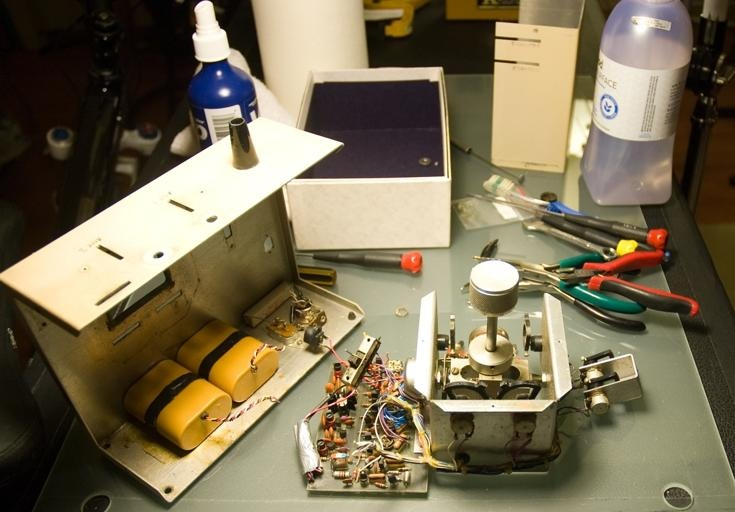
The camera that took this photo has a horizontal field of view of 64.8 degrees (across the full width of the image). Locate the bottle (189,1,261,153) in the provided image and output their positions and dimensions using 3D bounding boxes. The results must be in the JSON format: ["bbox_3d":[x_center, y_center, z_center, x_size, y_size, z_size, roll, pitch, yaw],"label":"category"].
[{"bbox_3d":[-0.297,-0.329,1.223,0.119,0.348,0.115,-2,34,1],"label":"bottle"}]
